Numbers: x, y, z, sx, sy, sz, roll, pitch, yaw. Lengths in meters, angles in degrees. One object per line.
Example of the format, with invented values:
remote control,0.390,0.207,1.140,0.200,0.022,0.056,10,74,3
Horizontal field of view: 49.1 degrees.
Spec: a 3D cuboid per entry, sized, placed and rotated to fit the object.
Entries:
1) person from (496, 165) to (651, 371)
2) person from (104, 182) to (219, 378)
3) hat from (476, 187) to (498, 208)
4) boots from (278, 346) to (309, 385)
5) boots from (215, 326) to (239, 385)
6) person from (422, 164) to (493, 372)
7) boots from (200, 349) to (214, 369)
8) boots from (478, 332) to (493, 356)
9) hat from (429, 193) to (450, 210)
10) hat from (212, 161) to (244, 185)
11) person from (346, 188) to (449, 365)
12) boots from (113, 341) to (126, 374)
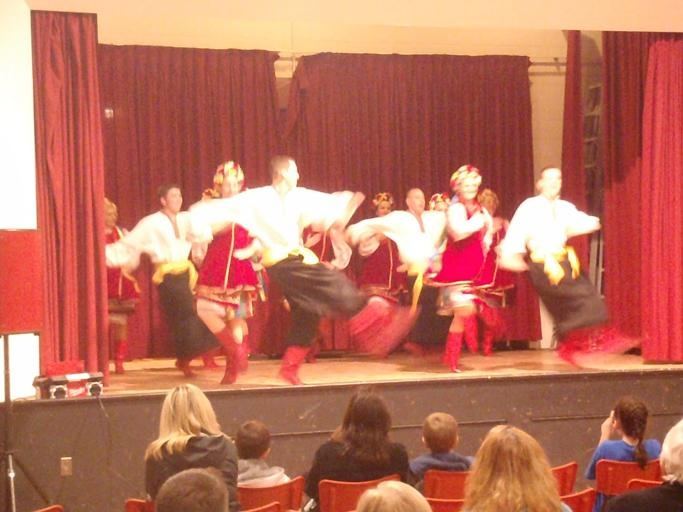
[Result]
person,2.055,0.052,6.928,1.027,1.773,0.679,-11,14,11
person,-1.654,0.257,6.785,0.391,1.748,1.331,-12,4,41
hat,1.527,-0.611,7.891,0.180,0.232,0.232,-4,-6,-1
boots,-0.385,0.840,5.817,0.209,0.150,0.414,21,23,2
boots,-0.889,0.762,5.870,0.167,0.444,0.268,-6,4,-10
person,1.056,0.088,6.391,0.586,1.712,0.446,-6,4,-11
boots,-1.237,0.933,6.851,0.127,0.202,0.120,-7,-21,-5
boots,1.396,0.843,7.171,0.162,0.302,0.099,2,-6,11
hat,1.004,-0.562,7.669,0.165,0.114,0.222,-1,3,0
hat,-0.978,-0.699,6.248,0.271,0.240,0.221,-5,8,3
person,0.516,0.211,7.247,1.460,1.481,0.428,-4,-14,-11
boots,-1.987,0.887,6.671,0.105,0.201,0.346,-7,4,-17
